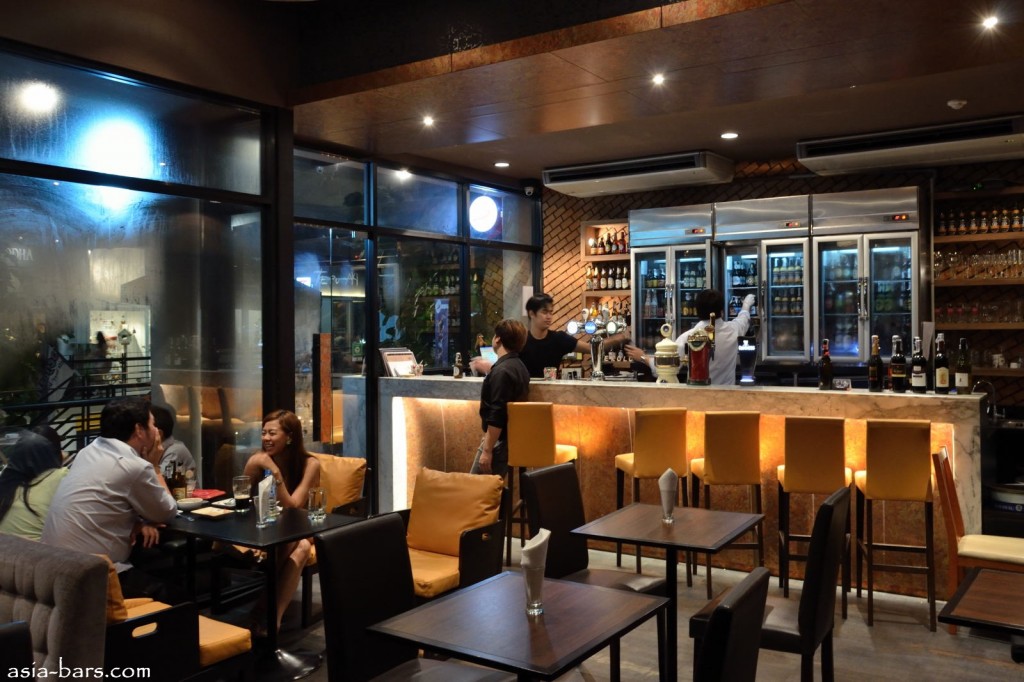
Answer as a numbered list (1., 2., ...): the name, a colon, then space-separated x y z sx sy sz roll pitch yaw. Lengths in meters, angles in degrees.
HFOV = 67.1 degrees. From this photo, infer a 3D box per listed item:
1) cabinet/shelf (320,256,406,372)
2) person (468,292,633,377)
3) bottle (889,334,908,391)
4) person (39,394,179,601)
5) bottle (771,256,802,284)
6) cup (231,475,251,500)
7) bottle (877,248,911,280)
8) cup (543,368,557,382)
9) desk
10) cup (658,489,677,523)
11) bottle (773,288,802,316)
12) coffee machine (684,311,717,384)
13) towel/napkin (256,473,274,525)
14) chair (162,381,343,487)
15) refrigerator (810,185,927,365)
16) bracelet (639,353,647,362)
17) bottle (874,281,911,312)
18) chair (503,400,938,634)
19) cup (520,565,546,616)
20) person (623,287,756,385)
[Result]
1. cabinet/shelf: -1.753 -0.402 8.178 0.921 1.197 0.875 8 6 -39
2. person: 0.391 -0.065 8.242 1.114 1.028 0.246 -2 -5 -25
3. bottle: 3.043 0.178 6.076 0.116 0.421 0.271 1 2 27
4. person: -2.573 1.086 4.965 0.656 1.355 0.796 13 4 16
5. bottle: 3.183 -0.821 8.905 0.340 0.323 0.162 1 1 32
6. cup: -1.858 1.005 5.271 0.139 0.149 0.133 0 1 0
7. bottle: 4.195 -0.849 8.446 0.364 0.329 0.118 1 0 37
8. cup: 0.357 0.319 7.212 0.109 0.100 0.108 0 4 0
9. desk: -1.744 1.622 5.180 1.282 1.136 1.265 -1 -5 16
10. cup: 0.989 1.035 4.888 0.082 0.196 0.169 1 2 9
11. bottle: 3.196 -0.447 8.909 0.323 0.429 0.129 1 3 30
12. coffee machine: 1.608 0.062 6.701 0.316 0.603 0.257 0 -2 -20
13. towel/napkin: -1.619 1.039 5.000 0.111 0.300 0.094 -1 -2 -33
14. chair: -2.121 0.738 6.116 0.325 0.573 0.891 -1 -3 26
15. refrigerator: 4.067 -0.654 8.775 1.128 1.998 0.738 3 13 41
16. bracelet: 1.194 0.152 7.079 0.021 0.072 0.079 -13 -20 33
17. bottle: 4.147 -0.506 8.451 0.365 0.343 0.074 2 3 36
18. chair: 1.599 1.229 5.429 1.744 1.248 0.621 1 0 19
19. cup: 0.108 1.232 3.870 0.088 0.264 0.144 0 2 1
20. person: 1.836 -0.070 7.832 1.093 1.329 0.451 -3 9 -10
